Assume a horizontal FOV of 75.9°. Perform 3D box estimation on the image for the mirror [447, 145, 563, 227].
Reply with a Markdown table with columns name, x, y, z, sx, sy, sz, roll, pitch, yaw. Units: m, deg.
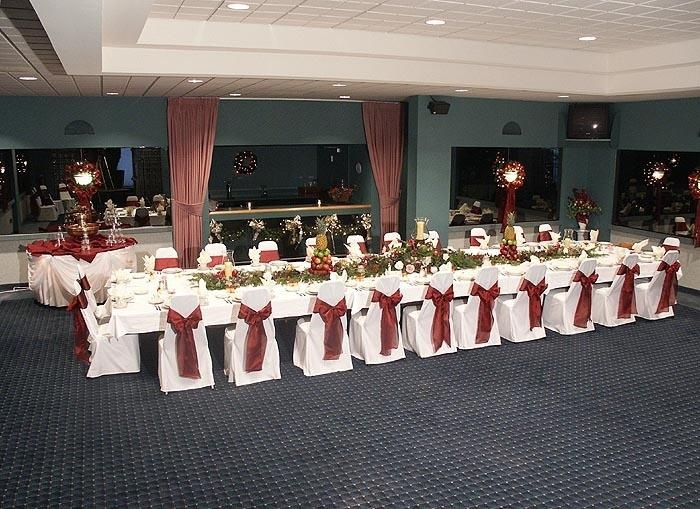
| name | x | y | z | sx | sy | sz | roll | pitch | yaw |
| --- | --- | --- | --- | --- | --- | --- | --- | --- | --- |
| mirror | 3.890 | -1.798 | 11.478 | 2.292 | 1.618 | 0.114 | 0 | 2 | -8 |

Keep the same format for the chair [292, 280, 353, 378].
| name | x | y | z | sx | sy | sz | roll | pitch | yaw |
| --- | --- | --- | --- | --- | --- | --- | --- | --- | --- |
| chair | -0.377 | 0.968 | 6.282 | 0.821 | 1.218 | 0.841 | -1 | 6 | -33 |

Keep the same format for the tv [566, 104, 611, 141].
| name | x | y | z | sx | sy | sz | roll | pitch | yaw |
| --- | --- | --- | --- | --- | --- | --- | --- | --- | --- |
| tv | 5.733 | -3.197 | 10.792 | 0.842 | 0.716 | 0.437 | 4 | 7 | 26 |

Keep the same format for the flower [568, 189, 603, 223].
| name | x | y | z | sx | sy | sz | roll | pitch | yaw |
| --- | --- | --- | --- | --- | --- | --- | --- | --- | --- |
| flower | 5.896 | -1.275 | 11.641 | 0.859 | 1.017 | 0.857 | 0 | 3 | -37 |

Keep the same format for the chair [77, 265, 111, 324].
| name | x | y | z | sx | sy | sz | roll | pitch | yaw |
| --- | --- | --- | --- | --- | --- | --- | --- | --- | --- |
| chair | -3.369 | 0.547 | 6.165 | 0.517 | 0.745 | 0.510 | -9 | 10 | -28 |

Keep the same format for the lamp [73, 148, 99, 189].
| name | x | y | z | sx | sy | sz | roll | pitch | yaw |
| --- | --- | --- | --- | --- | --- | --- | --- | --- | --- |
| lamp | -5.479 | -1.824 | 9.371 | 0.450 | 0.742 | 1.612 | -7 | 15 | -28 |

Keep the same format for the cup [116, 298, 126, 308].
| name | x | y | z | sx | sy | sz | roll | pitch | yaw |
| --- | --- | --- | --- | --- | --- | --- | --- | --- | --- |
| cup | -2.904 | 0.614 | 5.719 | 0.116 | 0.108 | 0.140 | -7 | 15 | -29 |

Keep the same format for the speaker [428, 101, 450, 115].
| name | x | y | z | sx | sy | sz | roll | pitch | yaw |
| --- | --- | --- | --- | --- | --- | --- | --- | --- | --- |
| speaker | 1.966 | -3.274 | 9.979 | 0.341 | 0.229 | 0.346 | 0 | 10 | -8 |

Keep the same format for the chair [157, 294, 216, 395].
| name | x | y | z | sx | sy | sz | roll | pitch | yaw |
| --- | --- | --- | --- | --- | --- | --- | --- | --- | --- |
| chair | -2.048 | 1.084 | 5.561 | 0.643 | 1.263 | 0.308 | -6 | 14 | -23 |

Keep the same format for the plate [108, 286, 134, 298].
| name | x | y | z | sx | sy | sz | roll | pitch | yaw |
| --- | --- | --- | --- | --- | --- | --- | --- | --- | --- |
| plate | -2.894 | 0.498 | 5.810 | 0.230 | 0.110 | 0.238 | 3 | 3 | 23 |

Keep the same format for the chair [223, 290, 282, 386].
| name | x | y | z | sx | sy | sz | roll | pitch | yaw |
| --- | --- | --- | --- | --- | --- | --- | --- | --- | --- |
| chair | -1.318 | 1.031 | 5.961 | 0.775 | 1.192 | 0.720 | -4 | 6 | -38 |

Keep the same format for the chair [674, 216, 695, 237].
| name | x | y | z | sx | sy | sz | roll | pitch | yaw |
| --- | --- | --- | --- | --- | --- | --- | --- | --- | --- |
| chair | 7.508 | -0.650 | 10.105 | 0.395 | 0.545 | 0.449 | -1 | 3 | -22 |

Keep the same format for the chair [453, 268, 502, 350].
| name | x | y | z | sx | sy | sz | roll | pitch | yaw |
| --- | --- | --- | --- | --- | --- | --- | --- | --- | --- |
| chair | 1.943 | 0.793 | 6.794 | 0.740 | 1.294 | 0.346 | 2 | 13 | 8 |

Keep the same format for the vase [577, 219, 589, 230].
| name | x | y | z | sx | sy | sz | roll | pitch | yaw |
| --- | --- | --- | --- | --- | --- | --- | --- | --- | --- |
| vase | 5.941 | -0.769 | 11.459 | 0.275 | 0.313 | 0.281 | 3 | 4 | 44 |

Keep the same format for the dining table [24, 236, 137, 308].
| name | x | y | z | sx | sy | sz | roll | pitch | yaw |
| --- | --- | --- | --- | --- | --- | --- | --- | --- | --- |
| dining table | -5.089 | 0.573 | 8.503 | 1.795 | 1.107 | 1.749 | 0 | 5 | -23 |

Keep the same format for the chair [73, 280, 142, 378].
| name | x | y | z | sx | sy | sz | roll | pitch | yaw |
| --- | --- | --- | --- | --- | --- | --- | --- | --- | --- |
| chair | -3.192 | 1.031 | 5.927 | 0.772 | 1.295 | 0.895 | -6 | 19 | -21 |
